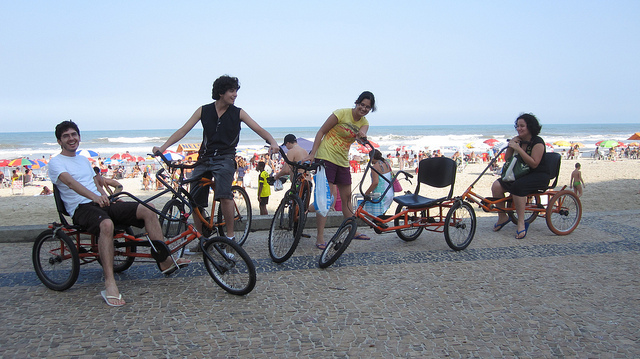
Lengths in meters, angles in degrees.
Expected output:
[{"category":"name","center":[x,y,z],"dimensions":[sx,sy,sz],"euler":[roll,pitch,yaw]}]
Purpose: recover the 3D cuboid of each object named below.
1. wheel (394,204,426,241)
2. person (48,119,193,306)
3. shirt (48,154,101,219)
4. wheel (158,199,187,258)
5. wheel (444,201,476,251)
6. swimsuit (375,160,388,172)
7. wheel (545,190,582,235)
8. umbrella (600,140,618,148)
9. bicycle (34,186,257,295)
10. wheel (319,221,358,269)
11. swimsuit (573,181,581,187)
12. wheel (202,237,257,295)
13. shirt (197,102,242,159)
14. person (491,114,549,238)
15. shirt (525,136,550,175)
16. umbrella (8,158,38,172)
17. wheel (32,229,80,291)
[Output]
[{"category":"wheel","center":[1.663,0.817,8.322],"dimensions":[0.557,0.767,0.903],"euler":[2,9,13]},{"category":"person","center":[-3.044,0.636,6.480],"dimensions":[1.477,2.046,0.797],"euler":[5,11,32]},{"category":"shirt","center":[-3.560,0.101,6.553],"dimensions":[0.635,0.923,0.596],"euler":[-6,10,-29]},{"category":"wheel","center":[-2.316,0.715,7.072],"dimensions":[0.371,0.853,1.580],"euler":[-4,9,-20]},{"category":"wheel","center":[2.475,0.845,7.995],"dimensions":[0.952,0.855,0.266],"euler":[3,4,-38]},{"category":"swimsuit","center":[1.173,-0.247,8.536],"dimensions":[0.122,0.274,0.303],"euler":[-6,4,-43]},{"category":"wheel","center":[4.838,0.661,8.965],"dimensions":[1.040,0.916,0.225],"euler":[10,0,-23]},{"category":"umbrella","center":[24.521,-2.966,38.223],"dimensions":[1.115,0.612,2.159],"euler":[3,8,21]},{"category":"bicycle","center":[-2.438,0.859,6.896],"dimensions":[3.143,1.494,1.518],"euler":[0,1,10]},{"category":"wheel","center":[0.309,1.128,7.483],"dimensions":[0.202,0.687,0.689],"euler":[43,22,0]},{"category":"swimsuit","center":[9.091,0.182,15.922],"dimensions":[0.203,0.127,0.192],"euler":[1,4,11]},{"category":"wheel","center":[-1.268,1.215,6.332],"dimensions":[0.796,0.841,0.265],"euler":[5,11,33]},{"category":"shirt","center":[-1.624,-0.783,7.239],"dimensions":[0.697,0.904,0.445],"euler":[-1,9,-7]},{"category":"person","center":[3.980,-0.100,9.006],"dimensions":[0.933,2.380,1.113],"euler":[8,12,42]},{"category":"shirt","center":[4.345,-0.471,8.901],"dimensions":[0.593,0.763,0.295],"euler":[-5,10,-28]},{"category":"umbrella","center":[-18.830,-0.861,28.340],"dimensions":[0.979,0.597,0.962],"euler":[1,3,-19]},{"category":"wheel","center":[-3.861,1.169,6.480],"dimensions":[0.186,0.878,0.927],"euler":[-16,-30,6]}]
